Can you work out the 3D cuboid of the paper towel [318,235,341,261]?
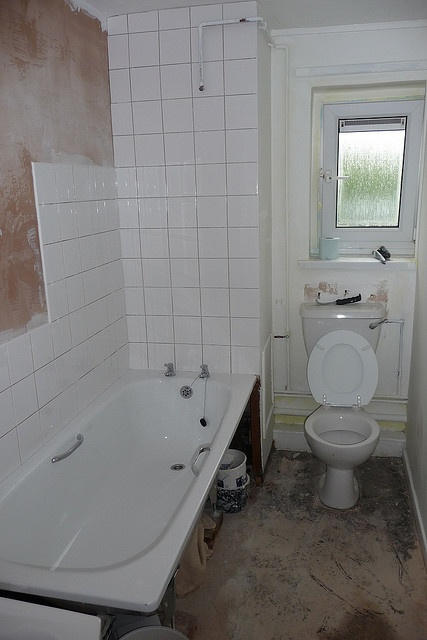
[{"bbox_3d":[0.656,-0.410,2.446,0.105,0.130,0.117,-8,17,-24],"label":"paper towel"}]

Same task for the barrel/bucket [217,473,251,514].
[{"bbox_3d":[0.094,0.864,2.154,0.136,0.146,0.179,-4,-1,3],"label":"barrel/bucket"}]
